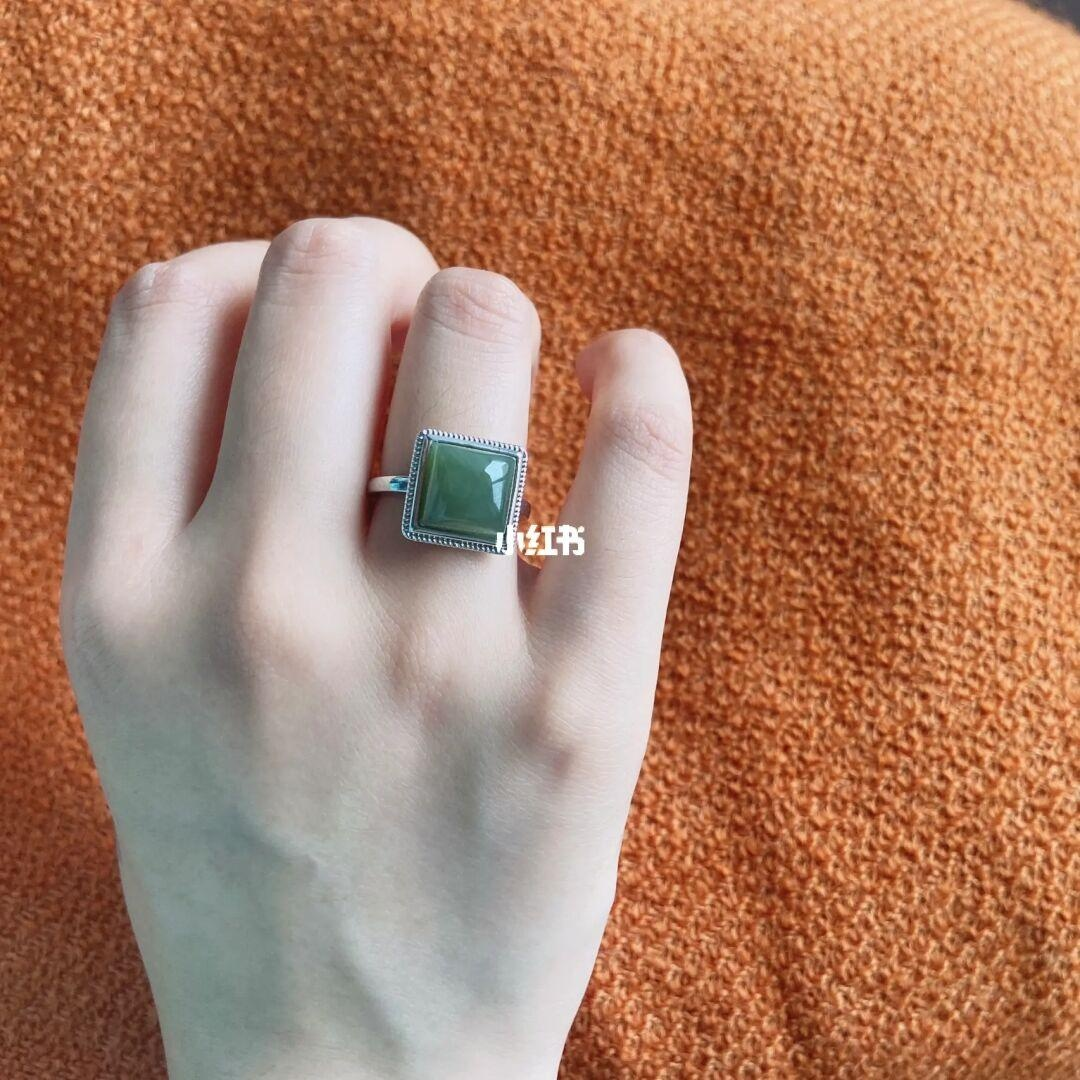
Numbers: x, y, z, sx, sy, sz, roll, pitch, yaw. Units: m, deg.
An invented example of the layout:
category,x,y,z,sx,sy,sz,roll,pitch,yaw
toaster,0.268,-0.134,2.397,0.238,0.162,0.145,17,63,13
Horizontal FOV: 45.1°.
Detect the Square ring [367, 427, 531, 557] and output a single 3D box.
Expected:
category,x,y,z,sx,sy,sz,roll,pitch,yaw
Square ring,-0.055,-0.033,0.754,0.075,0.081,0.060,8,97,0
